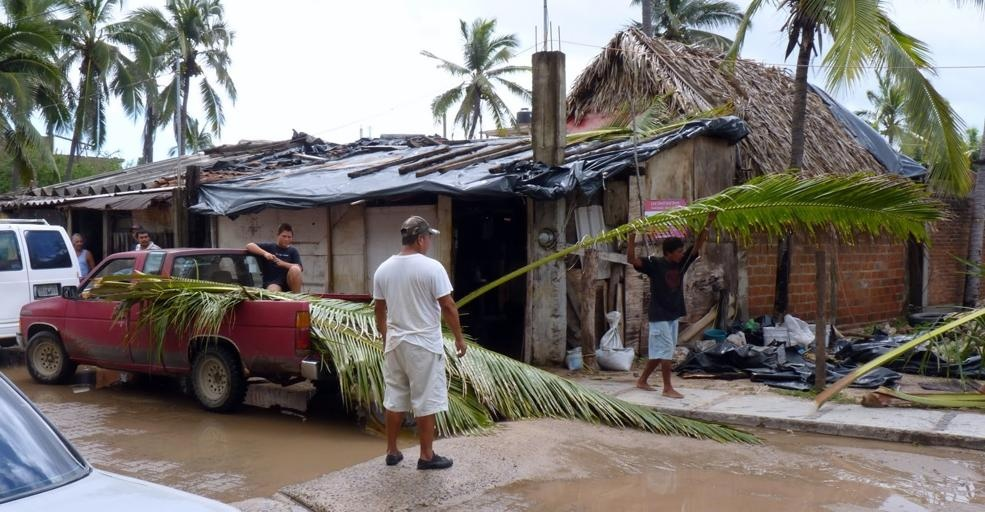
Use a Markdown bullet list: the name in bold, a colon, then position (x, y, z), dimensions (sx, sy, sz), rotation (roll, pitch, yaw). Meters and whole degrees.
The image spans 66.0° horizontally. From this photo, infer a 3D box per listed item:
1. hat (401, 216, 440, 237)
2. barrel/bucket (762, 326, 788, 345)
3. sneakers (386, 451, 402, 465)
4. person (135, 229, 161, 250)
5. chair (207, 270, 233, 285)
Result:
- **hat**: position (-1.131, -0.473, 12.337), dimensions (0.657, 0.286, 0.402), rotation (1, 6, -29)
- **barrel/bucket**: position (6.732, 1.890, 18.046), dimensions (0.460, 0.308, 0.440), rotation (0, 1, 0)
- **sneakers**: position (-1.603, 3.277, 12.299), dimensions (0.141, 0.122, 0.304), rotation (1, 4, 15)
- **person**: position (-8.353, -0.406, 18.298), dimensions (0.779, 0.582, 0.403), rotation (-3, 1, -22)
- **chair**: position (-5.477, 0.419, 15.242), dimensions (0.300, 0.364, 0.272), rotation (2, -7, -16)
